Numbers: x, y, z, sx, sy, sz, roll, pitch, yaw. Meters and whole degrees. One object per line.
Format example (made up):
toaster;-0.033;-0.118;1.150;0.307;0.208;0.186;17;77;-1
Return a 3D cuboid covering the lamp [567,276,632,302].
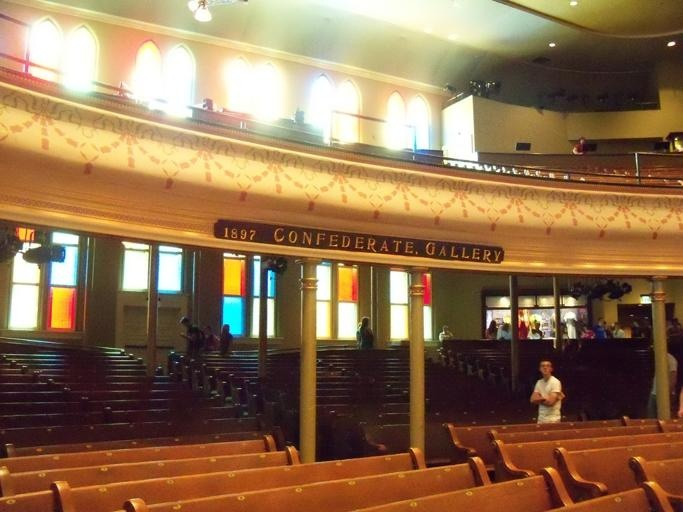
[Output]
lamp;7.191;0.958;16.655;1.333;0.459;1.350;1;-3;-4

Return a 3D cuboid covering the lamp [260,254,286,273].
lamp;-1.255;0.165;11.018;0.408;0.336;0.628;1;-3;-45

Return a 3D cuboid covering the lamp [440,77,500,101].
lamp;4.214;-5.176;18.242;1.734;0.678;0.919;-4;6;-20

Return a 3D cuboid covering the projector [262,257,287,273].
projector;-1.242;0.176;11.004;0.375;0.309;0.589;-1;1;-37
